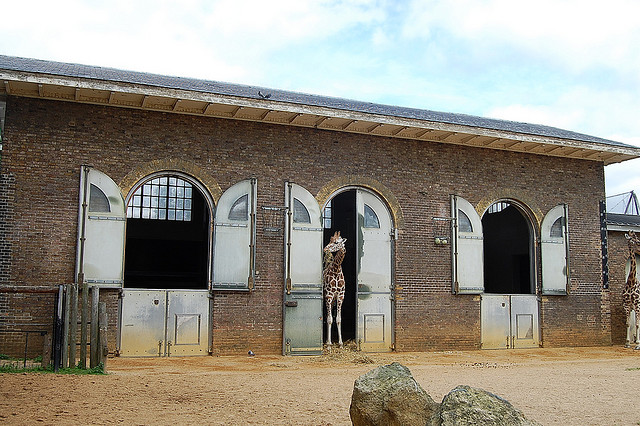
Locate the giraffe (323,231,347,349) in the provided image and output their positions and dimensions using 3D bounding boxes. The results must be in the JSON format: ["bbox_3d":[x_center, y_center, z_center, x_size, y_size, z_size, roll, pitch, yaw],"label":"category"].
[{"bbox_3d":[0.426,2.344,22.184,0.683,3.552,0.856,0,-10,0],"label":"giraffe"}]
